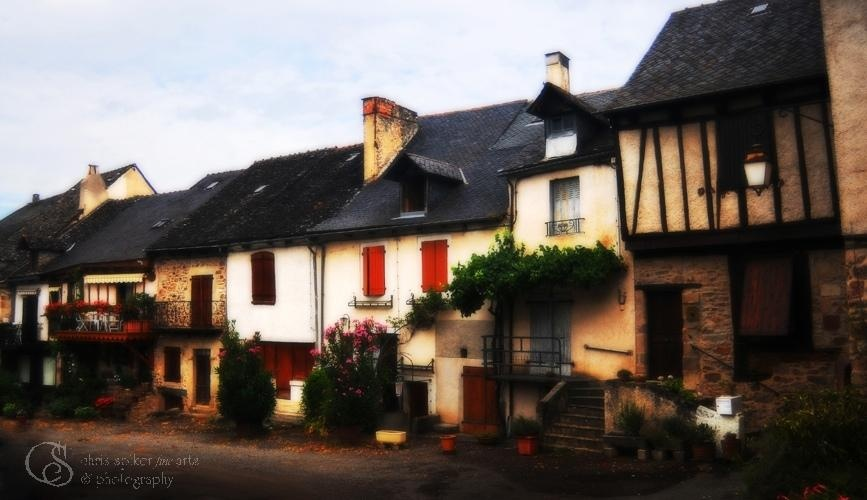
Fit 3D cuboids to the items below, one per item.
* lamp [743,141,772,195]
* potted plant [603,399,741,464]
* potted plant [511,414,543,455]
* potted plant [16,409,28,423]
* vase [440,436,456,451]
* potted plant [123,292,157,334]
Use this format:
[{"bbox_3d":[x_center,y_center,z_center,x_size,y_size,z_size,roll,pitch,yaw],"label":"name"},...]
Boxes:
[{"bbox_3d":[9.493,-2.317,30.625,0.729,1.454,0.723,-2,11,17],"label":"lamp"},{"bbox_3d":[7.461,5.605,31.878,3.299,1.224,1.689,-2,-10,20],"label":"potted plant"},{"bbox_3d":[3.018,5.922,33.400,0.943,1.011,0.979,11,-17,-28],"label":"potted plant"},{"bbox_3d":[-16.442,6.628,41.835,0.447,0.389,0.415,0,-12,-5],"label":"potted plant"},{"bbox_3d":[0.465,6.229,33.728,0.529,0.341,0.475,-1,-11,4],"label":"vase"},{"bbox_3d":[-11.893,2.590,42.127,1.718,1.688,1.412,6,-15,-33],"label":"potted plant"}]
